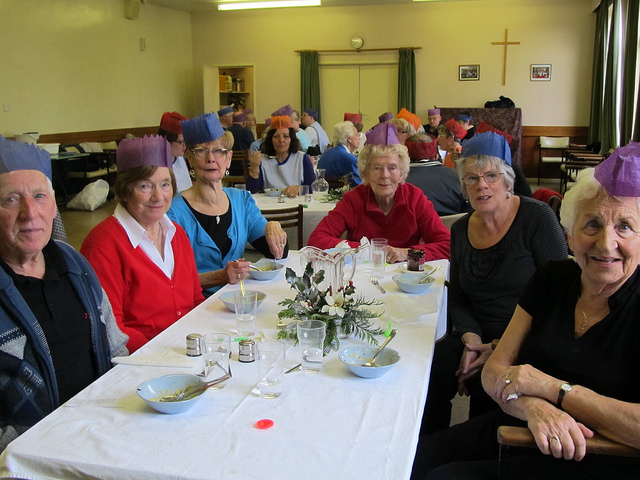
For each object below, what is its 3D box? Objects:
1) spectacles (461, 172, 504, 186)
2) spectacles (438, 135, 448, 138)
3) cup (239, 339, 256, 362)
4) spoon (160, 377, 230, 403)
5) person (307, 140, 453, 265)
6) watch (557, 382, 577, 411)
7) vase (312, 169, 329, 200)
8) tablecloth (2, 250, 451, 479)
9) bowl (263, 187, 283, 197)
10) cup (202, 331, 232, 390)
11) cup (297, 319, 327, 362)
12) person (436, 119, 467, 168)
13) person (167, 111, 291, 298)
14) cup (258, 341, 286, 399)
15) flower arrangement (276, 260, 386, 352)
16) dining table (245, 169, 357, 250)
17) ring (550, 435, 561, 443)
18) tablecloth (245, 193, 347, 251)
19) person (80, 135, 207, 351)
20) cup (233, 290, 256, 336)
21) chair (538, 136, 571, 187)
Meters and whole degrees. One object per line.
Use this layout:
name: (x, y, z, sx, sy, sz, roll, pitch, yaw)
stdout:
spectacles: (0.813, -0.306, 2.406, 0.182, 0.065, 0.077, 5, 18, 24)
spectacles: (1.755, -1.480, 6.840, 0.093, 0.025, 0.095, 2, 6, 19)
cup: (-0.256, 0.392, 1.685, 0.059, 0.068, 0.063, 1, 8, 0)
spoon: (-0.376, 0.455, 1.464, 0.232, 0.038, 0.049, -23, -15, -1)
person: (0.411, -0.258, 3.137, 0.915, 0.882, 0.673, 2, 10, 17)
watch: (0.768, 0.483, 1.514, 0.052, 0.080, 0.082, 8, 23, 40)
vase: (0.009, -0.614, 5.464, 0.193, 0.359, 0.223, -2, -5, 42)
tablecloth: (-0.138, 0.288, 1.755, 1.085, 0.313, 1.515, 2, 17, 16)
bowl: (-0.499, -0.506, 5.007, 0.149, 0.060, 0.158, -3, 10, 0)
cup: (-0.347, 0.404, 1.621, 0.105, 0.185, 0.111, -1, 7, 0)
cup: (-0.027, 0.344, 1.630, 0.115, 0.194, 0.124, -1, 4, 0)
person: (1.938, -1.377, 6.939, 0.471, 0.825, 0.786, -1, 20, 14)
person: (-0.569, -0.157, 2.871, 0.752, 1.183, 0.705, -10, 16, -41)
cup: (-0.151, 0.411, 1.551, 0.100, 0.181, 0.108, -1, 9, 0)
flower arrangement: (0.043, 0.280, 1.893, 0.398, 0.238, 0.541, 1, 1, -20)
dining table: (-0.210, -0.356, 4.769, 1.032, 1.135, 0.838, 2, 8, 15)
ring: (0.701, 0.594, 1.429, 0.019, 0.021, 0.005, 13, 1, 3)
tablecloth: (-0.199, -0.045, 4.775, 0.647, 0.487, 0.956, 16, -8, -36)
person: (-0.803, -0.003, 2.241, 0.437, 0.942, 0.564, 15, 26, 28)
cup: (-0.291, 0.300, 1.925, 0.090, 0.162, 0.098, 1, 9, 0)
chair: (5.245, -1.766, 10.812, 0.690, 1.191, 0.718, 5, 10, 8)
